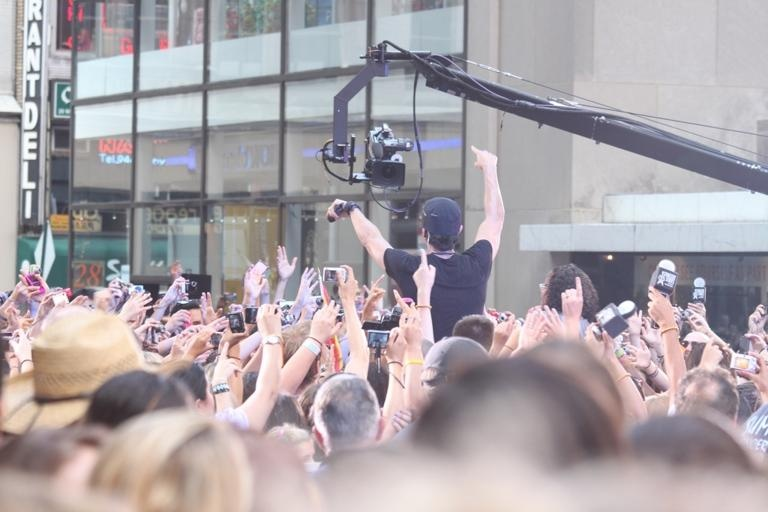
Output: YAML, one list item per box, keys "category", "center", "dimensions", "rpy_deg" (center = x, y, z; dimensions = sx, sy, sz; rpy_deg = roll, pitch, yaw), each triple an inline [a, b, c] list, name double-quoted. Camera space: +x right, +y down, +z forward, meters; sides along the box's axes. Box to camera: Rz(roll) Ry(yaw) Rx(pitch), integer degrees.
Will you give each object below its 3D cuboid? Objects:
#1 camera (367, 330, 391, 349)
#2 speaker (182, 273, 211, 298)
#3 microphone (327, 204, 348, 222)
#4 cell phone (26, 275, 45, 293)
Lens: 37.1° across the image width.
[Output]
- category: "camera"
  center: [-0.079, 1.097, 15.350]
  dimensions: [0.353, 0.259, 0.207]
  rpy_deg: [1, 7, 0]
- category: "speaker"
  center: [-3.264, 0.524, 19.874]
  dimensions: [0.369, 0.355, 0.196]
  rpy_deg: [4, -12, -36]
- category: "microphone"
  center: [-0.639, -0.632, 16.992]
  dimensions: [0.252, 0.263, 0.088]
  rpy_deg: [5, -1, 21]
- category: "cell phone"
  center: [-5.258, 0.416, 17.276]
  dimensions: [0.152, 0.279, 0.065]
  rpy_deg: [-39, 2, -42]
